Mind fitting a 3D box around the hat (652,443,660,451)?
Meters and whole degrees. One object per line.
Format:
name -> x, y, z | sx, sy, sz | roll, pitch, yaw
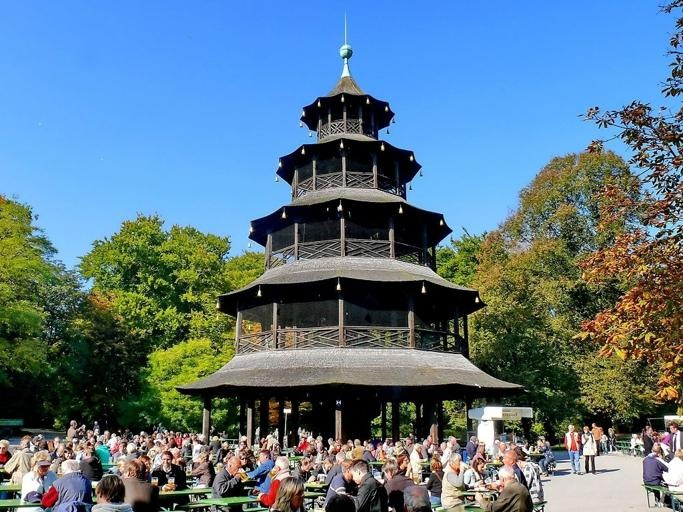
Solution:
hat -> 11.512, 7.038, 31.863 | 0.283, 0.342, 0.526 | 1, -15, 17
